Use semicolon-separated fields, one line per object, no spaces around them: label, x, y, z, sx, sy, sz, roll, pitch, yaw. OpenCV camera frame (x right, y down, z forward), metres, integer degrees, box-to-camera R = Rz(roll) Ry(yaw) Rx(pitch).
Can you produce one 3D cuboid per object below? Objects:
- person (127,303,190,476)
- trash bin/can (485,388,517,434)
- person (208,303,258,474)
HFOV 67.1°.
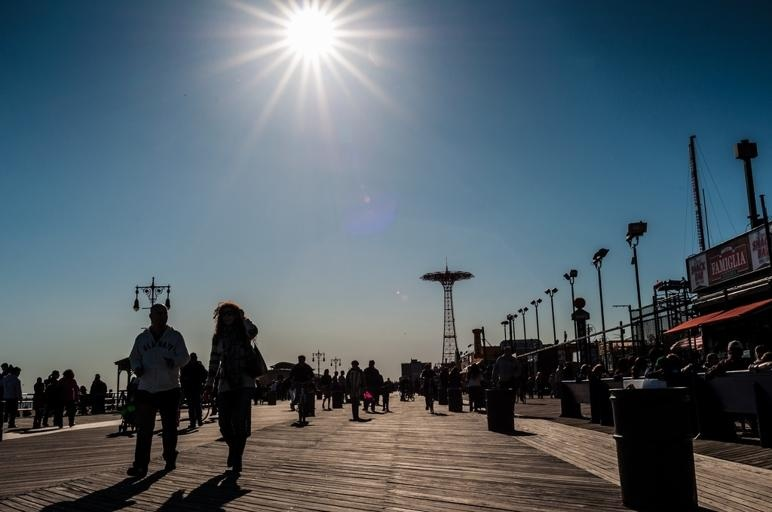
person;-3.778;2.170;9.605;0.893;2.726;0.968;1;-15;-19
trash bin/can;2.909;3.998;14.932;0.875;1.229;0.942;-1;-14;1
person;-2.547;2.155;9.728;0.856;2.813;0.569;-3;-14;-7
